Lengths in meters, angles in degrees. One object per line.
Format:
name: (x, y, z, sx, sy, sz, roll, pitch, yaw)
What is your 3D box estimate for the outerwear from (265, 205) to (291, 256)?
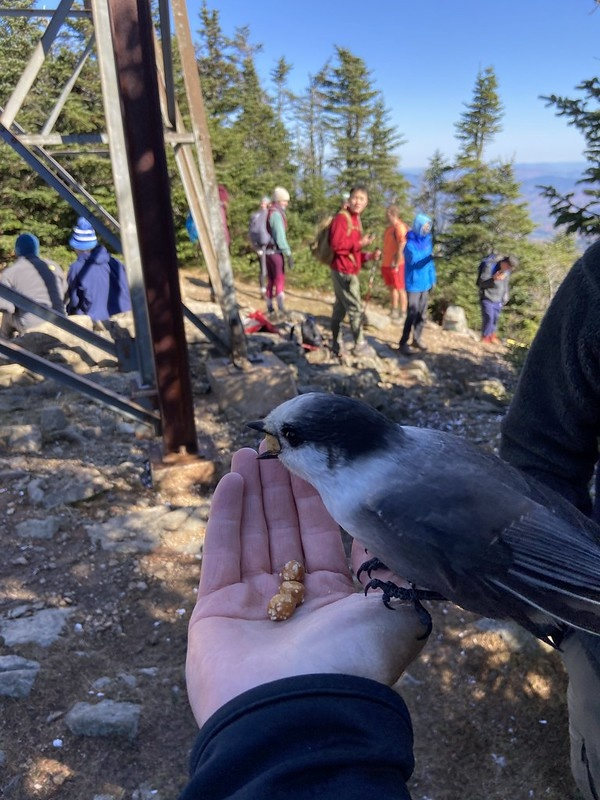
outerwear: (-0.299, -2.212, 8.657, 0.299, 0.657, 0.544, -2, 19, -1)

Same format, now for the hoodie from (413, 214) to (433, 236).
hoodie: (1.415, -2.048, 7.688, 0.213, 0.250, 0.262, -10, 7, -10)

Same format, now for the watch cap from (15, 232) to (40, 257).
watch cap: (-2.990, -1.674, 7.211, 0.256, 0.327, 0.109, 11, 28, -4)

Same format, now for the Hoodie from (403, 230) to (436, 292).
Hoodie: (1.422, -1.651, 7.864, 0.355, 0.745, 0.323, 1, 19, 7)

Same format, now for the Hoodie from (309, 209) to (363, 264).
Hoodie: (0.480, -1.857, 7.192, 0.292, 0.480, 0.356, 15, 4, 3)

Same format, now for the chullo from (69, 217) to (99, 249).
chullo: (-2.400, -1.822, 7.274, 0.284, 0.378, 0.689, -8, 19, -16)

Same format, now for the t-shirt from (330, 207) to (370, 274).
t-shirt: (0.490, -1.714, 7.149, 0.342, 0.689, 0.337, -2, 19, 0)
